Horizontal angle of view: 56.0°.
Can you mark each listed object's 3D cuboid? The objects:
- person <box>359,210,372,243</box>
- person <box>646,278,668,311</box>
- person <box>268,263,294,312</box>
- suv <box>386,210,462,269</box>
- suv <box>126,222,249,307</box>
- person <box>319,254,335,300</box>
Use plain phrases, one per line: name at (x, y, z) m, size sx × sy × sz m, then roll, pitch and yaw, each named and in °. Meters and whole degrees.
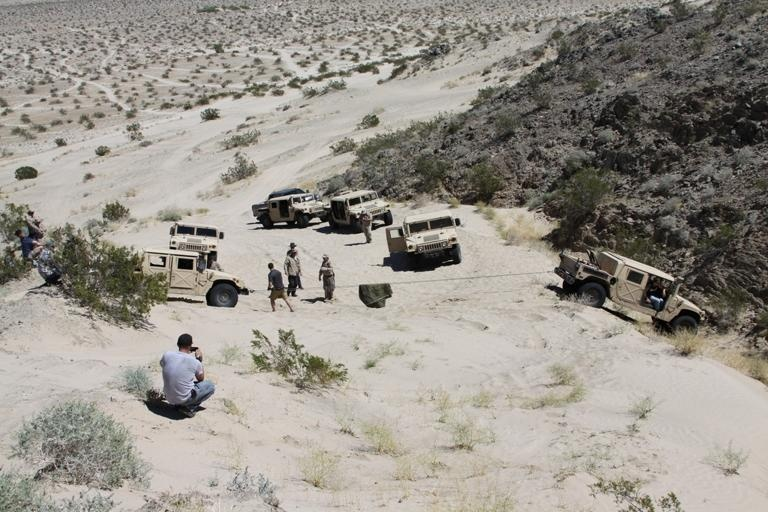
person at (-0.996, -1.608, 39.074) m, size 0.547 × 1.521 × 1.411 m, roll -5°, pitch 32°, yaw -5°
person at (11.372, 1.597, 30.282) m, size 0.768 × 1.077 × 0.742 m, roll 13°, pitch 35°, yaw 22°
person at (-4.615, 1.302, 31.443) m, size 0.940 × 2.305 × 0.798 m, roll -7°, pitch 18°, yaw -3°
suv at (2.091, -0.806, 36.130) m, size 2.520 × 1.660 × 3.358 m, roll -11°, pitch 11°, yaw 1°
suv at (-8.292, 0.373, 32.166) m, size 4.360 × 2.505 × 2.969 m, roll 0°, pitch 21°, yaw -5°
person at (-2.595, 0.908, 32.479) m, size 0.533 × 2.268 × 0.810 m, roll -3°, pitch 32°, yaw -2°
